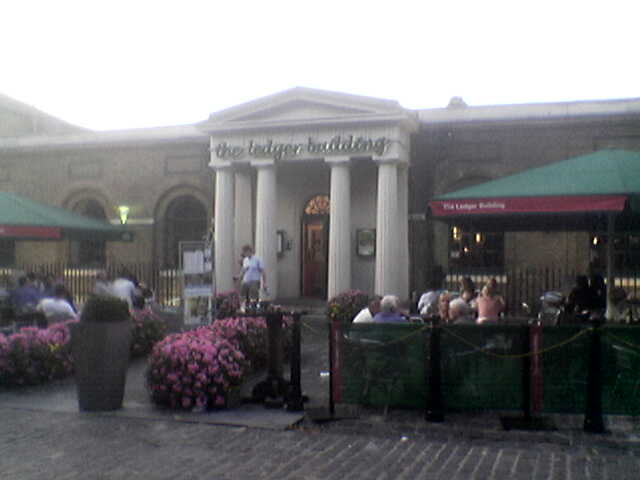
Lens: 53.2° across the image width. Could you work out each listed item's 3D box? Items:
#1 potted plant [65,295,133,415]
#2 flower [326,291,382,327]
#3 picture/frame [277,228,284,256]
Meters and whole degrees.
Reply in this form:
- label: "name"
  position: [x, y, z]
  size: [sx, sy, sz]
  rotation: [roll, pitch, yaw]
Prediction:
- label: "potted plant"
  position: [-3.051, 1.618, 9.020]
  size: [0.798, 1.650, 0.372]
  rotation: [-4, 8, -24]
- label: "flower"
  position: [0.800, 1.767, 16.929]
  size: [0.998, 0.830, 1.122]
  rotation: [2, 2, -20]
- label: "picture/frame"
  position: [-1.290, 0.131, 21.341]
  size: [0.250, 0.862, 0.318]
  rotation: [-1, 8, 0]
